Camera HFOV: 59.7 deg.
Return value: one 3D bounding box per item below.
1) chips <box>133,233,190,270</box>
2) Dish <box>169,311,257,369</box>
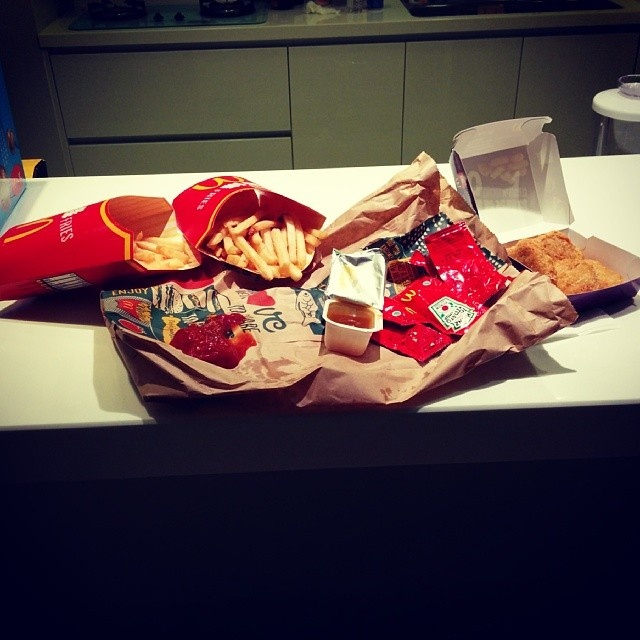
[{"bbox_3d":[-0.347,-0.146,1.219,0.102,0.037,0.098,-2,40,-15],"label":"chips"},{"bbox_3d":[-0.181,0.033,0.954,0.140,0.044,0.145,-12,30,-18],"label":"Dish"}]
